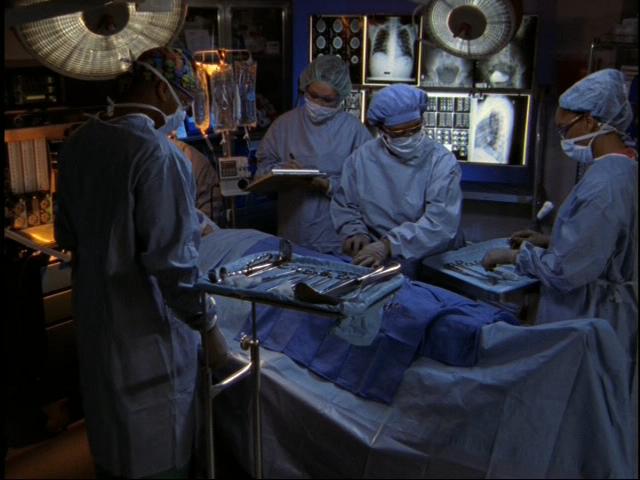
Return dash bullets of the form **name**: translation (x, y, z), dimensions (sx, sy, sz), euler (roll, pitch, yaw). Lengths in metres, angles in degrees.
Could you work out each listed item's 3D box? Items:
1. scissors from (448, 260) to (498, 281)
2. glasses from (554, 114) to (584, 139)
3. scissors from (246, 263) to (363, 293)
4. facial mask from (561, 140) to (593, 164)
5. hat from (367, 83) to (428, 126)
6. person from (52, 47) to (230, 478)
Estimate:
- **scissors**: translation (0.699, 0.140, 2.421), dimensions (0.078, 0.029, 0.138), euler (-9, 23, -26)
- **glasses**: translation (1.076, -0.492, 2.285), dimensions (0.070, 0.019, 0.070), euler (-39, 4, -4)
- **scissors**: translation (-0.067, 0.111, 1.603), dimensions (0.144, 0.021, 0.139), euler (12, 20, 41)
- **facial mask**: translation (1.145, -0.377, 2.341), dimensions (0.114, 0.069, 0.108), euler (-22, 37, -40)
- **hat**: translation (0.394, -0.694, 2.719), dimensions (0.306, 0.212, 0.167), euler (0, 12, 11)
- **person**: translation (-0.616, 0.121, 1.805), dimensions (0.575, 1.513, 0.403), euler (-1, 11, 4)
